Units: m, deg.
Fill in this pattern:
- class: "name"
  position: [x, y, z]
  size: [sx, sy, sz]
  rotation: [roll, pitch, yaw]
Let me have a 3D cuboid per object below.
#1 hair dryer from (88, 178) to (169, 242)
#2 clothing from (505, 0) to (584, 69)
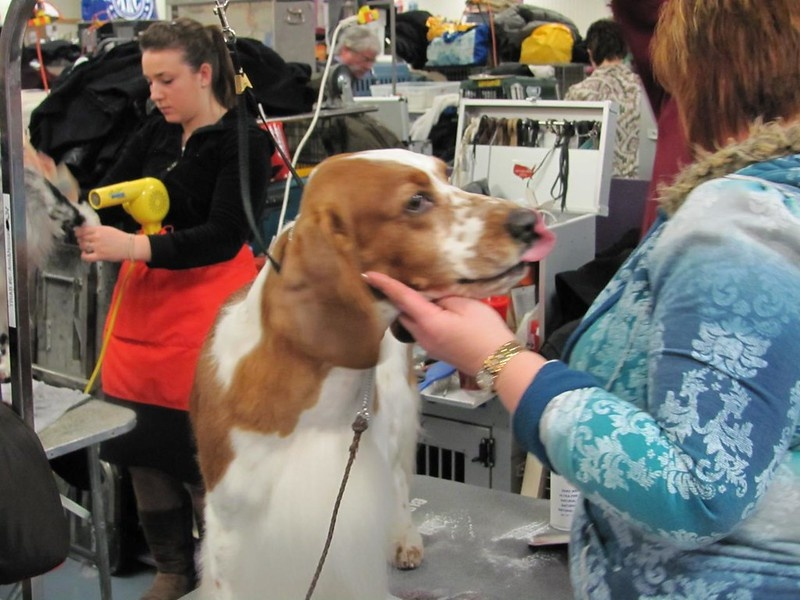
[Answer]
- class: "hair dryer"
  position: [-0.884, -0.295, 2.408]
  size: [0.225, 0.257, 0.095]
  rotation: [-19, 49, -32]
- class: "clothing"
  position: [1.187, -2.389, 6.450]
  size: [0.622, 0.278, 0.852]
  rotation: [6, 21, -4]
